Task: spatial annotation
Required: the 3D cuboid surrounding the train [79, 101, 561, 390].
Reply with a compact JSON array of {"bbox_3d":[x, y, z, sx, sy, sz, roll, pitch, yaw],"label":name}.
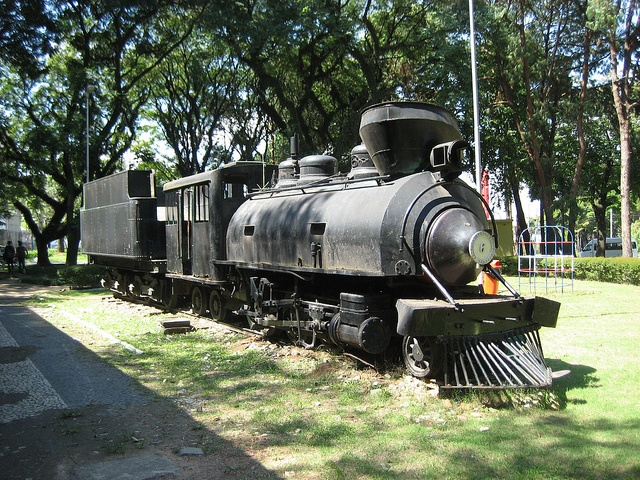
[{"bbox_3d":[-1.758,-0.248,13.740,4.739,5.635,16.120,0,2,-32],"label":"train"}]
